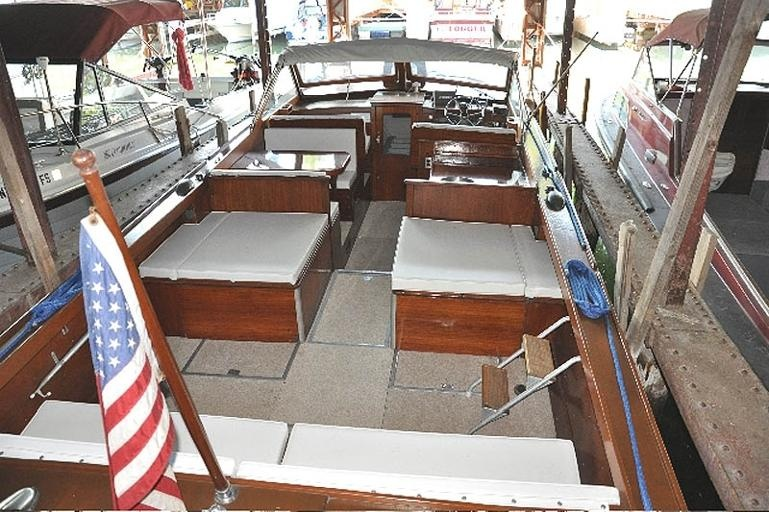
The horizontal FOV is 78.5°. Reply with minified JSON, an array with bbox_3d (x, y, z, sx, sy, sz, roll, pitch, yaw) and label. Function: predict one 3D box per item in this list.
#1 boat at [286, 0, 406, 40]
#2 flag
[{"bbox_3d":[-1.576,-8.271,16.846,3.684,1.607,8.649,-4,28,-11],"label":"boat"},{"bbox_3d":[-1.014,0.412,1.787,0.249,1.123,0.360,-13,30,-26],"label":"flag"}]
